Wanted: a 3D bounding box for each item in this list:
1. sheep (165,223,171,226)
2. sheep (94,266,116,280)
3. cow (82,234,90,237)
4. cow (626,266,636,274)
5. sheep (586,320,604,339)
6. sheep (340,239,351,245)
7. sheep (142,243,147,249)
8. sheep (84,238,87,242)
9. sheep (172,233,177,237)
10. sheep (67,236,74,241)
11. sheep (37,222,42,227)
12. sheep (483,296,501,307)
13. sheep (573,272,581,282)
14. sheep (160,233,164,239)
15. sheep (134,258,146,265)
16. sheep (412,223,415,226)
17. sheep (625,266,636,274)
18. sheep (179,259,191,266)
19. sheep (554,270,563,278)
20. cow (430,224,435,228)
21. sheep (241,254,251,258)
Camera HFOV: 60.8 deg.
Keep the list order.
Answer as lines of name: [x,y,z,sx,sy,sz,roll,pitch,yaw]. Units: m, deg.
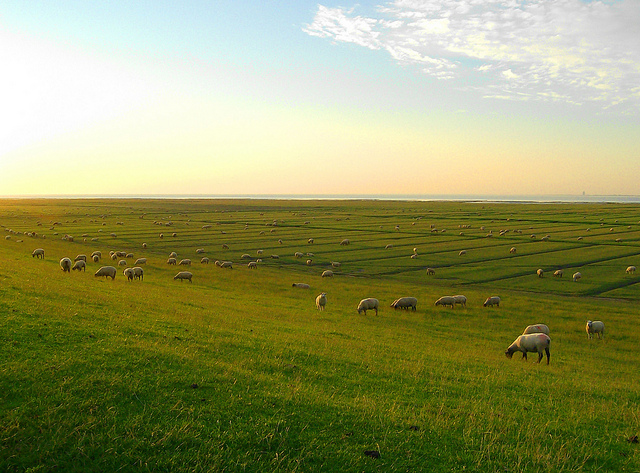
sheep: [-45.636,-3.564,163.964,1.187,0.639,1.165,-1,2,-34]
sheep: [-20.126,3.378,51.316,1.721,1.078,1.880,5,4,-16]
cow: [-52.378,-0.205,122.283,1.632,1.006,0.865,5,16,14]
cow: [42.923,4.570,75.646,2.538,1.323,0.642,-11,10,-42]
sheep: [22.256,7.534,44.346,1.615,1.331,0.971,5,4,-12]
sheep: [5.615,1.042,115.081,2.528,1.324,0.754,-7,42,-6]
sheep: [-34.261,1.809,107.403,0.769,1.109,1.676,-3,4,-35]
sheep: [-48.201,0.709,112.803,0.786,0.749,0.773,1,-2,-27]
sheep: [-34.452,-0.306,129.803,0.911,0.678,0.906,0,0,-22]
sheep: [-50.417,0.388,110.789,0.588,1.226,2.256,-1,11,-38]
sheep: [-73.925,-3.154,144.339,1.077,0.502,1.039,-1,7,-22]
sheep: [16.839,6.388,53.809,1.615,0.818,1.048,6,4,1]
sheep: [33.526,5.282,71.430,0.880,1.038,2.466,8,4,25]
sheep: [-37.037,-0.150,128.236,1.129,0.801,1.540,2,8,2]
sheep: [-23.022,3.300,70.305,1.196,0.857,1.322,4,4,-24]
sheep: [28.356,-3.746,165.827,0.744,0.412,0.733,-7,10,-28]
sheep: [42.719,4.626,75.172,1.127,0.911,2.221,8,5,31]
sheep: [-18.337,3.553,74.549,1.305,0.793,1.332,4,4,-23]
sheep: [32.541,5.043,74.652,0.852,0.766,1.526,9,5,39]
cow: [31.605,-2.906,154.483,1.191,0.651,1.944,-2,5,2]
sheep: [-12.818,3.454,94.625,1.693,0.875,0.530,-2,9,-5]
